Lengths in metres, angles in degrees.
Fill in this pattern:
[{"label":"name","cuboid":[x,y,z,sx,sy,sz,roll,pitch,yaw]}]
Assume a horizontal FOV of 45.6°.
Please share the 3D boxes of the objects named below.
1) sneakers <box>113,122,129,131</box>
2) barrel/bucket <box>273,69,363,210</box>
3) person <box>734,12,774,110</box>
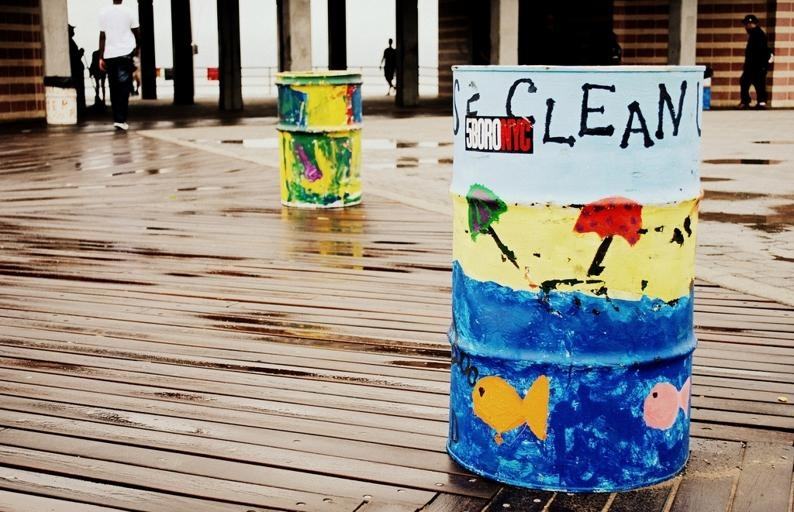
[{"label":"sneakers","cuboid":[-4.704,-2.330,16.765,0.133,0.141,0.338,-1,15,4]},{"label":"barrel/bucket","cuboid":[-0.683,-1.135,9.178,0.816,1.307,0.352,-3,14,-4]},{"label":"person","cuboid":[8.635,-4.721,22.888,0.625,2.291,1.283,2,14,18]}]
